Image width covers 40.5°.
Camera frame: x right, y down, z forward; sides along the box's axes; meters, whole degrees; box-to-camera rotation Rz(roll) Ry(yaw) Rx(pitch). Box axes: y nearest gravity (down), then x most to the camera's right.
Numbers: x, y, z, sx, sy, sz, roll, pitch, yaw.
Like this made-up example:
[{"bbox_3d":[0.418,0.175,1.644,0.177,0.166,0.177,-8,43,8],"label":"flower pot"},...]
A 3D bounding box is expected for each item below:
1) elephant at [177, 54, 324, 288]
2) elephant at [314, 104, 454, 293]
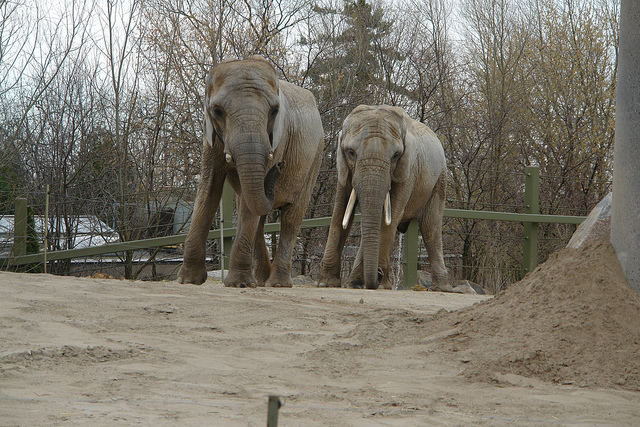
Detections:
[{"bbox_3d":[-1.009,-0.560,13.498,1.643,3.524,2.209,2,-7,11],"label":"elephant"},{"bbox_3d":[1.256,-0.168,15.731,1.848,3.350,4.823,5,1,22],"label":"elephant"}]
